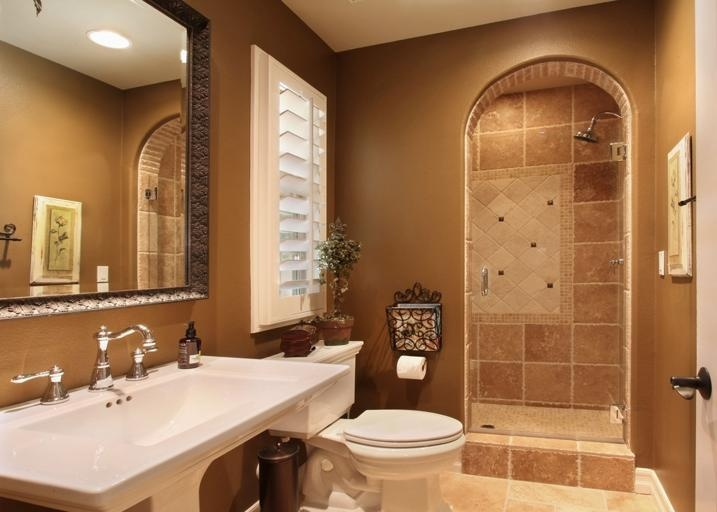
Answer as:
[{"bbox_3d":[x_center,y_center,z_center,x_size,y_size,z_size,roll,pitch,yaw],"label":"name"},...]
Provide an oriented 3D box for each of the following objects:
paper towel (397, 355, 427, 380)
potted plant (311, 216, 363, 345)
[{"bbox_3d":[0.350,0.703,3.244,0.185,0.163,0.152,-2,-1,24],"label":"paper towel"},{"bbox_3d":[-0.126,0.165,3.304,0.303,0.841,0.620,-2,-1,0],"label":"potted plant"}]
